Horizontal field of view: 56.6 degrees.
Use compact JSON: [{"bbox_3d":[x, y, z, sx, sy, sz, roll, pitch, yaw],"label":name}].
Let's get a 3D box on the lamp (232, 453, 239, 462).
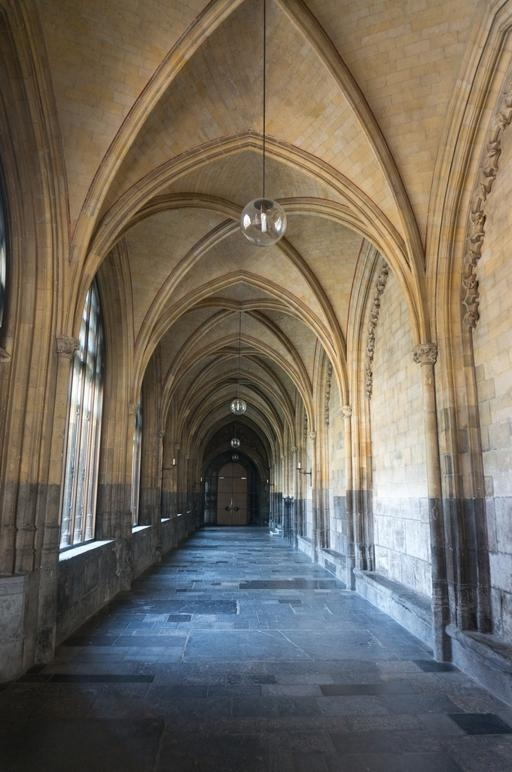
[{"bbox_3d":[-1.400,5.025,33.348,0.387,0.659,0.155,2,16,6],"label":"lamp"}]
